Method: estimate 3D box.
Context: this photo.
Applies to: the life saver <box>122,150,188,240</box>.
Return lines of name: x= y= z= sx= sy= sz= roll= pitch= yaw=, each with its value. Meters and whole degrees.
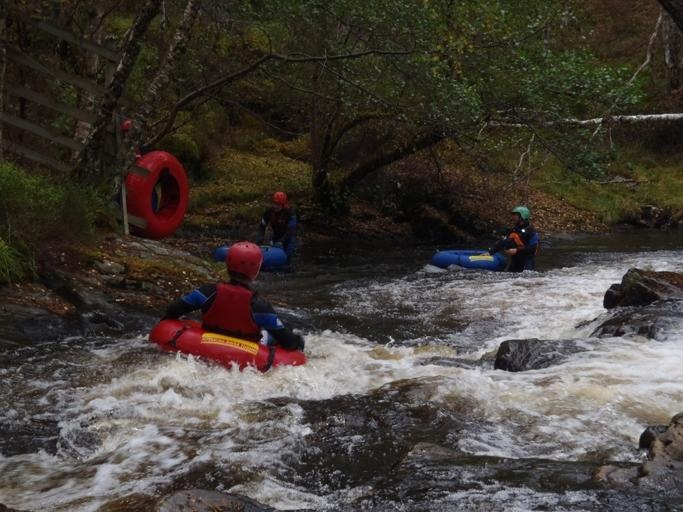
life saver: x=-3.691 y=-1.220 z=17.018 sx=0.693 sy=1.755 sz=1.312 roll=9 pitch=3 yaw=14

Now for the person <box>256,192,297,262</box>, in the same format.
person: x=-1.403 y=-0.722 z=19.776 sx=1.161 sy=1.498 sz=0.888 roll=0 pitch=6 yaw=-6

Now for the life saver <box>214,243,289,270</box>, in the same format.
life saver: x=-2.081 y=-0.002 z=19.308 sx=2.039 sy=0.497 sz=1.322 roll=2 pitch=3 yaw=-14
